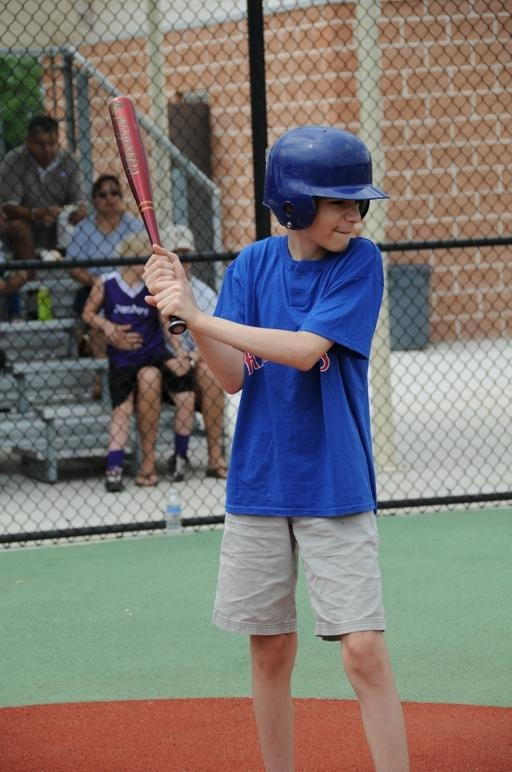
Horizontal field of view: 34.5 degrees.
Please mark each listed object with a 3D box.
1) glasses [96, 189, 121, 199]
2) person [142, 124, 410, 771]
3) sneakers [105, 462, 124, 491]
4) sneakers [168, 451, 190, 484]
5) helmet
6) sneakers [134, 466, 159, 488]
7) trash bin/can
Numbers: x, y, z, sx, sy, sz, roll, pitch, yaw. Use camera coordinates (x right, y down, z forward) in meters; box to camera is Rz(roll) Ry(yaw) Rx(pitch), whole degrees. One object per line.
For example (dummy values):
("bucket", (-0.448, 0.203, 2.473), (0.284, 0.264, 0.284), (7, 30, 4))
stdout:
("glasses", (-1.061, -1.393, 5.937), (0.103, 0.100, 0.115), (22, 38, 28))
("person", (0.049, 0.163, 1.693), (0.543, 1.353, 0.396), (0, 9, 19))
("sneakers", (-0.850, 0.558, 4.920), (0.092, 0.161, 0.070), (-6, 9, -19))
("sneakers", (-0.486, 0.516, 5.138), (0.125, 0.183, 0.182), (2, 47, -3))
("helmet", (0.145, -0.417, 1.647), (0.270, 0.188, 0.197), (23, 36, 39))
("sneakers", (-0.674, 0.563, 5.066), (0.133, 0.079, 0.227), (-1, -3, 1))
("trash bin/can", (1.786, -0.992, 10.573), (0.953, 1.028, 0.909), (-1, 0, 5))
